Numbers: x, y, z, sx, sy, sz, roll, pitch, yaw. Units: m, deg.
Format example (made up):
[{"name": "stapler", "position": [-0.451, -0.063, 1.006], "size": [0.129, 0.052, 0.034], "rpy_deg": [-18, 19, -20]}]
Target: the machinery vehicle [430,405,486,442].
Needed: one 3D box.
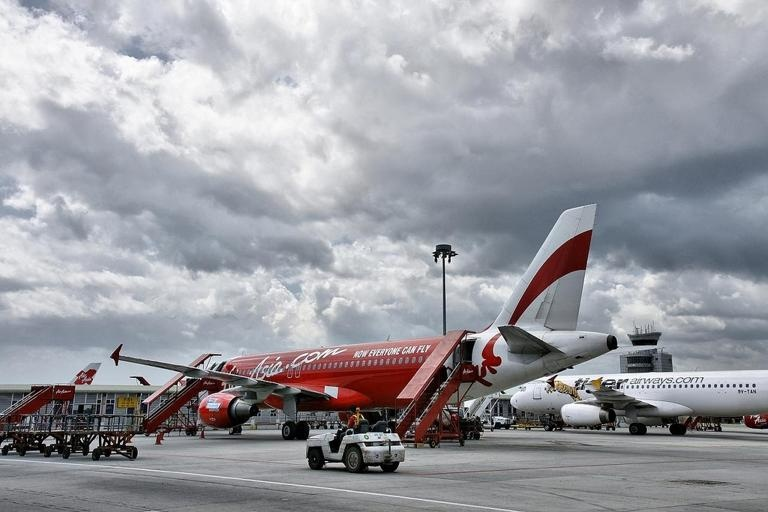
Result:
[{"name": "machinery vehicle", "position": [3.674, 9.794, 31.581], "size": [2.199, 1.718, 3.809], "rpy_deg": [0, -16, 21]}]

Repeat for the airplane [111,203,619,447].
[{"name": "airplane", "position": [-0.116, 4.756, 30.423], "size": [24.331, 11.099, 4.240], "rpy_deg": [-11, -27, 33]}]

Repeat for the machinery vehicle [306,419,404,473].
[{"name": "machinery vehicle", "position": [-0.968, 6.231, 17.348], "size": [2.947, 1.276, 1.620], "rpy_deg": [-5, -13, 40]}]
